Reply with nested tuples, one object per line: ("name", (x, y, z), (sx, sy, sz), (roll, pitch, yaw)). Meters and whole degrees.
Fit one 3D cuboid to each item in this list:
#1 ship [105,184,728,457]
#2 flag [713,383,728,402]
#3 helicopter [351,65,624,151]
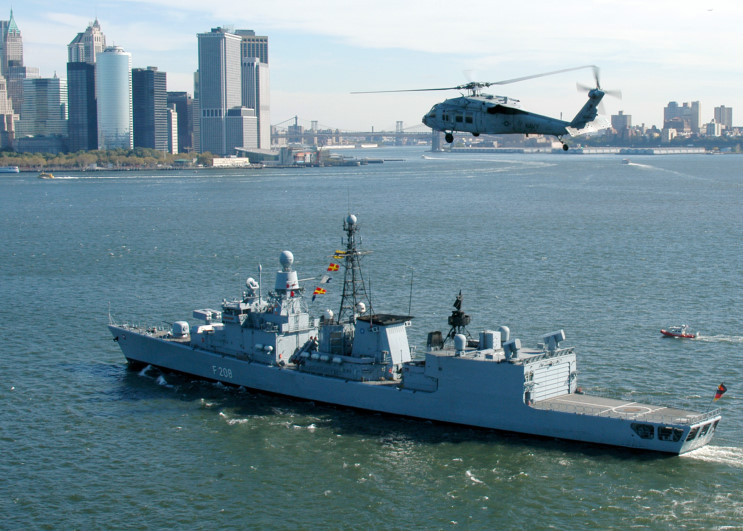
("ship", (2.356, 6.047, 88.141), (46.061, 13.711, 4.937), (3, 10, 21))
("flag", (27.366, 9.986, 86.425), (0.224, 0.787, 2.646), (5, 2, 32))
("helicopter", (10.221, -13.269, 90.216), (20.388, 5.204, 18.688), (14, 16, 34))
